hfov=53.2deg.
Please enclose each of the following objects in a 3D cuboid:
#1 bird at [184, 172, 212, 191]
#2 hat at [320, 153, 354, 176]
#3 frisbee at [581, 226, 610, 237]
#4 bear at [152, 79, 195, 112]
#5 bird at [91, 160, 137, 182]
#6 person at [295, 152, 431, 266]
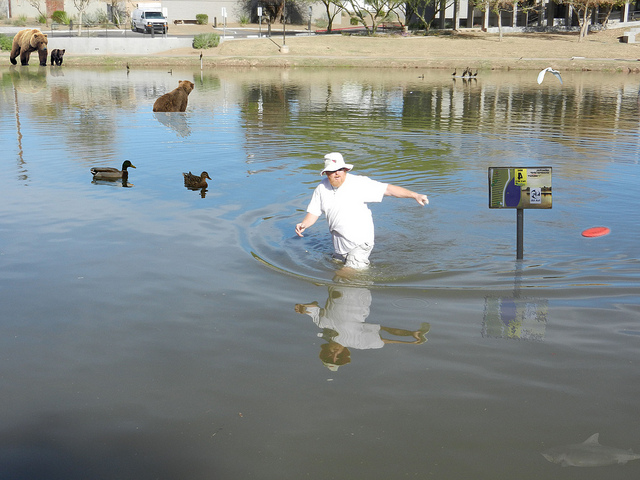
[{"bbox_3d":[-2.528,-1.193,12.841,0.640,0.359,0.203,7,17,29],"label":"bird"},{"bbox_3d":[0.247,-0.991,8.259,0.396,0.174,0.343,-19,16,-6],"label":"hat"},{"bbox_3d":[4.453,-0.121,10.321,0.377,0.134,0.260,5,14,23],"label":"frisbee"},{"bbox_3d":[-5.092,-5.014,22.348,0.787,1.055,1.511,5,14,20],"label":"bear"},{"bbox_3d":[-4.350,-1.473,13.436,0.942,0.492,0.433,1,25,-16],"label":"bird"},{"bbox_3d":[0.402,-0.371,8.662,1.436,1.634,0.702,-1,15,-2],"label":"person"}]
